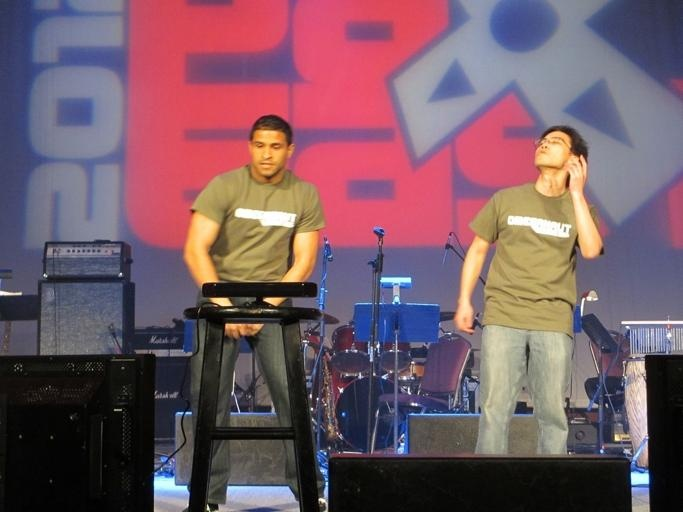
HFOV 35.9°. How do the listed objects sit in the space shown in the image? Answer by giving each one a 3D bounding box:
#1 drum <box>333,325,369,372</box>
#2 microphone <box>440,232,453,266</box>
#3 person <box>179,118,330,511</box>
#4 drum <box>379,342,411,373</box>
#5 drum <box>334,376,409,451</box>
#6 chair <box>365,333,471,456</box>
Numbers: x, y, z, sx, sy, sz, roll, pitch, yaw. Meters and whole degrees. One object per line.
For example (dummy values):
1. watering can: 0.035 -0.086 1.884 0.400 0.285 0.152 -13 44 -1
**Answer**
1. drum: 0.066 0.841 9.581 0.359 0.366 0.341 -3 34 0
2. microphone: 0.951 -0.075 9.834 0.060 0.339 0.052 7 -30 15
3. person: -0.570 0.345 6.800 0.926 2.546 0.431 4 -9 -9
4. drum: 0.514 0.902 9.481 0.388 0.275 0.261 9 -11 -33
5. drum: 0.236 1.387 9.311 0.539 0.648 0.304 -4 -11 35
6. chair: 0.735 1.275 9.464 0.699 1.131 0.737 -1 -6 42
